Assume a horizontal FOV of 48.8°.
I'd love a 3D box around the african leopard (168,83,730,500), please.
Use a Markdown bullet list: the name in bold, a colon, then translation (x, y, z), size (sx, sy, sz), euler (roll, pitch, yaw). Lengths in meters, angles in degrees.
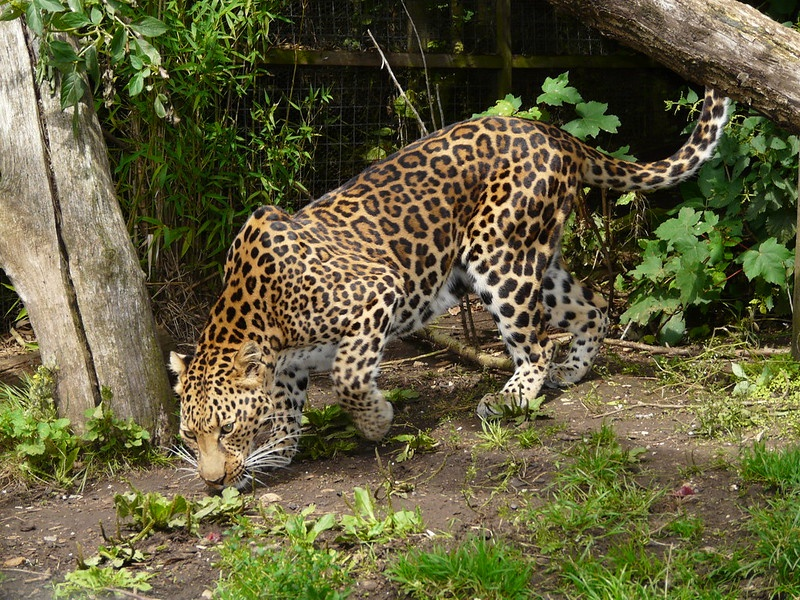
- **african leopard**: translation (0.413, -0.180, 5.865), size (4.337, 2.071, 1.173), euler (-16, 21, -21)
